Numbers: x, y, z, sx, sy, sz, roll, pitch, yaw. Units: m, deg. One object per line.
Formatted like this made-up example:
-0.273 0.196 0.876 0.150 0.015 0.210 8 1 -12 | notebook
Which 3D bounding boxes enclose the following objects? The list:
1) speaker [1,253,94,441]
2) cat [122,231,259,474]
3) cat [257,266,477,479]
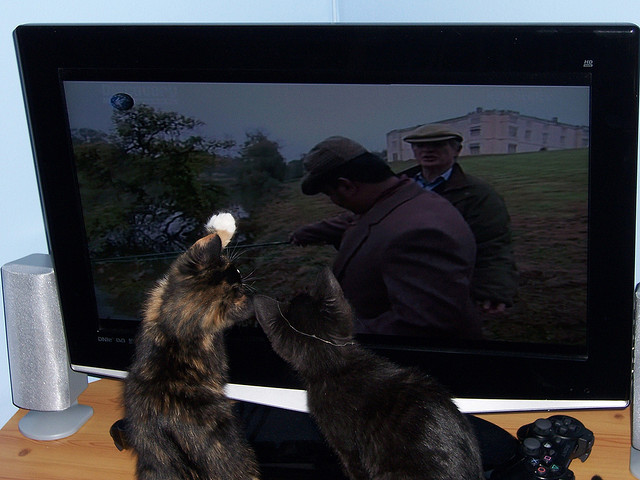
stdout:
-0.676 0.267 1.505 0.186 0.447 0.143 1 10 4 | speaker
-0.183 0.199 1.232 0.273 0.455 0.306 -6 -2 2 | cat
0.089 0.252 1.118 0.374 0.381 0.160 5 11 26 | cat
